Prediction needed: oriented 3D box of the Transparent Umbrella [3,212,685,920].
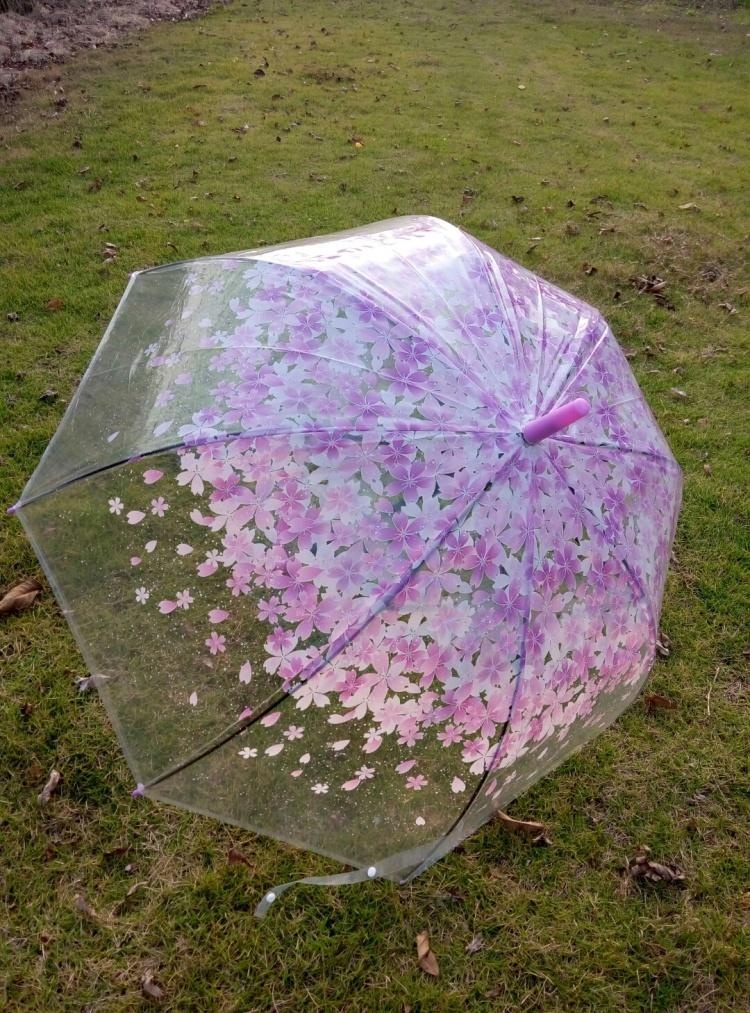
[{"bbox_3d":[-0.122,0.230,4.480,2.515,2.245,1.814,7,29,8],"label":"Transparent Umbrella"}]
